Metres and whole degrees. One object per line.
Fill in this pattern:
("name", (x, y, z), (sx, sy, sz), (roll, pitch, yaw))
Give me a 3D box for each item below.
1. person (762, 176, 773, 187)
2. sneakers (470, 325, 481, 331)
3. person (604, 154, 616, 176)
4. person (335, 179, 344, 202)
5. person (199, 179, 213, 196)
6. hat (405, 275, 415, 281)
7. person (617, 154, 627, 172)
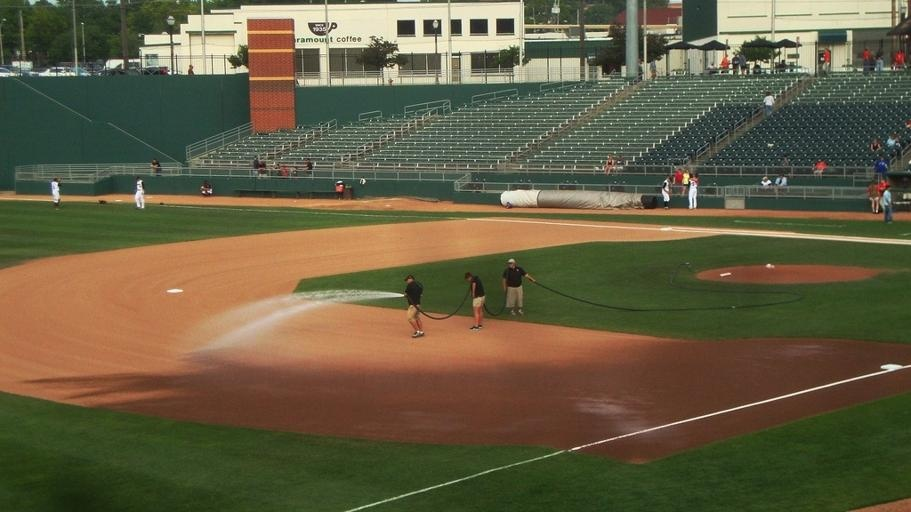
("person", (22.784, -5.377, 108.256), (0.780, 0.669, 1.304), (1, 14, 12))
("sneakers", (1.275, 4.244, 87.420), (0.635, 0.222, 0.286), (6, 12, 39))
("person", (11.910, -6.964, 114.009), (0.837, 1.161, 1.896), (-1, 14, 6))
("person", (-9.107, -5.260, 118.785), (0.687, 1.467, 0.538), (-4, 16, -3))
("person", (-20.291, -5.455, 122.106), (1.343, 1.470, 1.294), (-3, -3, 2))
("hat", (-2.687, 1.325, 86.494), (0.387, 0.433, 0.515), (14, 3, 37))
("person", (12.893, -7.100, 113.927), (0.744, 1.013, 1.981), (-1, 14, 7))
